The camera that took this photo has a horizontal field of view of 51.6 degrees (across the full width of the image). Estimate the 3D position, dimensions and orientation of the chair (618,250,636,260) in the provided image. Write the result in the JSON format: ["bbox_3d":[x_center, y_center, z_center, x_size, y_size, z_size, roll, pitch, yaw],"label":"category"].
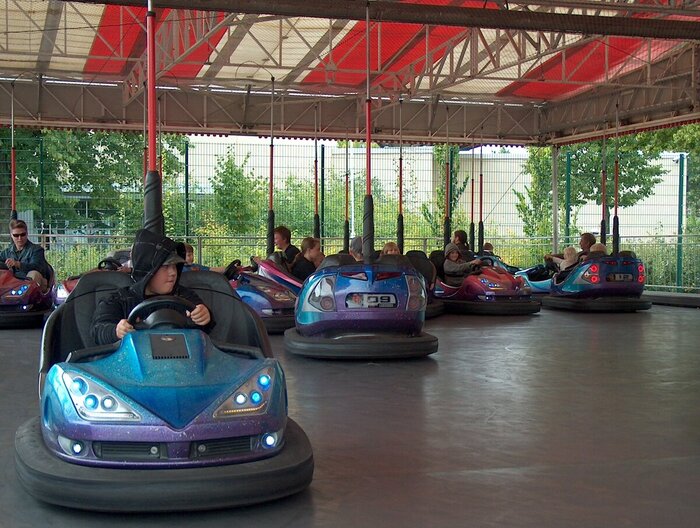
[{"bbox_3d":[3.963,-0.128,10.346,0.216,0.111,0.312,7,8,35],"label":"chair"}]

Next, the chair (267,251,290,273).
[{"bbox_3d":[-0.822,-0.038,8.048,0.245,0.220,0.177,-14,21,-33],"label":"chair"}]

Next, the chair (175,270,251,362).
[{"bbox_3d":[-0.676,0.306,3.818,0.303,0.428,0.412,-4,45,-7],"label":"chair"}]

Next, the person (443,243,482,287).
[{"bbox_3d":[1.487,0.017,9.927,0.306,0.560,0.730,-2,5,-30],"label":"person"}]

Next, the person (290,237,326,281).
[{"bbox_3d":[-0.488,-0.057,8.026,0.332,0.449,0.760,0,4,-5],"label":"person"}]

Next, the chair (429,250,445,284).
[{"bbox_3d":[1.246,0.001,10.152,0.291,0.414,0.365,1,-6,-7],"label":"chair"}]

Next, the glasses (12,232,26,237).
[{"bbox_3d":[-3.691,-0.320,8.061,0.139,0.063,0.105,0,4,-13],"label":"glasses"}]

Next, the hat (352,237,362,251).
[{"bbox_3d":[0.108,-0.280,9.887,0.130,0.180,0.179,3,13,2],"label":"hat"}]

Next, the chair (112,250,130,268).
[{"bbox_3d":[-2.405,-0.049,7.631,0.132,0.149,0.166,-3,-20,-33],"label":"chair"}]
